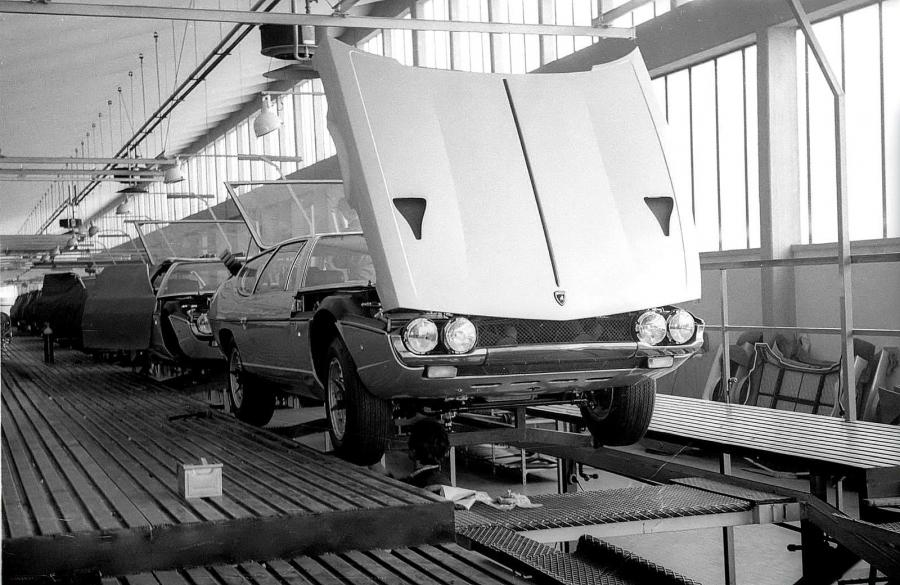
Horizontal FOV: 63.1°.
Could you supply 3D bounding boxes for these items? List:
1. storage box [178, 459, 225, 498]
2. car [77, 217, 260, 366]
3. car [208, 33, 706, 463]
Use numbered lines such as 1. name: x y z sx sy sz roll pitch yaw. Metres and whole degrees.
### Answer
1. storage box: -1.836 1.347 5.385 0.253 0.195 0.257 0 1 -14
2. car: -4.839 0.169 12.212 2.321 1.505 3.461 -1 -2 -39
3. car: 0.003 -0.776 7.934 3.258 3.279 5.382 -5 16 -23
